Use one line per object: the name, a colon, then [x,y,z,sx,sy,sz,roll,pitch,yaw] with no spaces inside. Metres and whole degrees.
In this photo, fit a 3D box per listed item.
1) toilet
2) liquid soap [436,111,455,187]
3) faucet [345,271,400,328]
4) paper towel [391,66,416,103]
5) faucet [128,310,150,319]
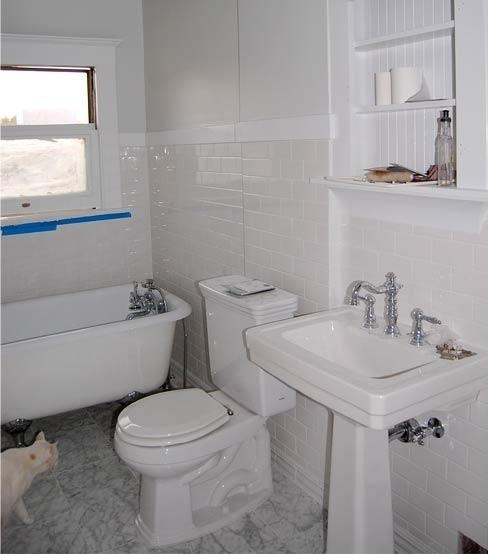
toilet: [-0.185,0.603,2.084,0.810,1.046,0.479,-10,12,-32]
liquid soap: [0.637,-0.410,1.423,0.057,0.238,0.191,2,12,25]
faucet: [0.456,0.090,1.592,0.193,0.220,0.098,0,13,15]
paper towel: [0.541,-0.646,1.514,0.098,0.115,0.110,-6,28,18]
faucet: [-0.712,0.254,3.066,0.142,0.058,0.075,-12,14,-14]
